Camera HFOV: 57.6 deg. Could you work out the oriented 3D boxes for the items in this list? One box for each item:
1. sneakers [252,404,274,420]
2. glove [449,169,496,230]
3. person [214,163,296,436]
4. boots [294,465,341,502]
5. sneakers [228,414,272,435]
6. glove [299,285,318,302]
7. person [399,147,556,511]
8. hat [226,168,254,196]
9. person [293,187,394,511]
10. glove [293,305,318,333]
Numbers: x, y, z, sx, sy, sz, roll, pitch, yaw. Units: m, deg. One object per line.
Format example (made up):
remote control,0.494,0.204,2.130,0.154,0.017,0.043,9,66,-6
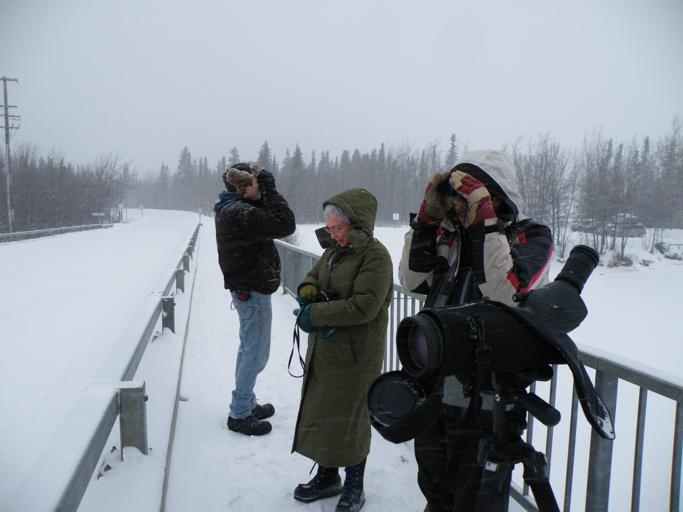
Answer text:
sneakers,-0.865,1.682,6.754,0.279,0.134,0.102,-11,22,-17
glove,0.991,-0.441,4.781,0.162,0.339,0.437,-19,43,-21
person,-0.945,0.435,6.561,0.809,2.786,0.647,1,6,-10
boots,-0.204,2.091,5.737,0.469,0.498,0.212,3,-6,-2
sneakers,-0.958,1.774,6.424,0.370,0.194,0.196,0,0,-4
glove,-0.309,0.332,5.686,0.116,0.164,0.156,4,12,36
person,0.938,0.627,4.791,1.165,2.890,1.038,4,7,18
hat,-1.062,-0.781,6.500,0.275,0.271,0.215,10,12,-38
person,-0.013,0.817,5.603,0.833,2.821,0.653,3,6,8
glove,-0.356,0.557,5.632,0.245,0.272,0.184,18,-5,-4
